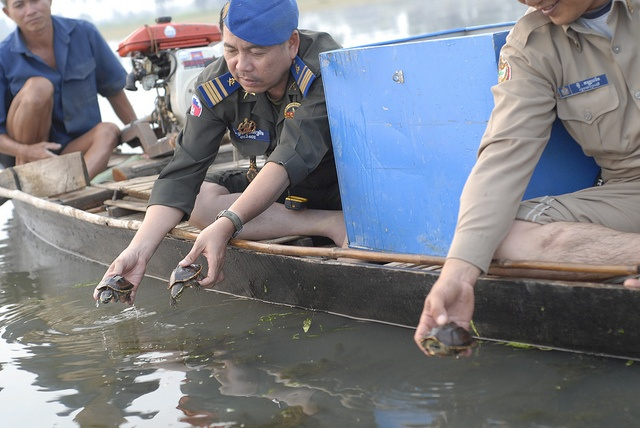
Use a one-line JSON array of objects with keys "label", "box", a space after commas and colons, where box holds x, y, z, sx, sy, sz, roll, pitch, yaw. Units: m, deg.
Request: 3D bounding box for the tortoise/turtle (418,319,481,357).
[{"label": "tortoise/turtle", "box": [0.371, 0.358, 1.489, 0.156, 0.106, 0.064, -10, 18, -11]}]

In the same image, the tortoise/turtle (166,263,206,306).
[{"label": "tortoise/turtle", "box": [-0.565, 0.309, 2.250, 0.127, 0.189, 0.182, 0, -1, -3]}]

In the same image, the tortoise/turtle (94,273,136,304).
[{"label": "tortoise/turtle", "box": [-0.877, 0.309, 2.189, 0.105, 0.054, 0.142, -4, 13, 7]}]
